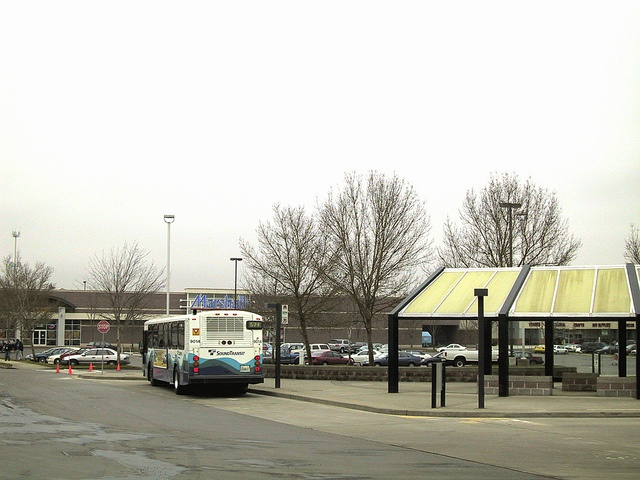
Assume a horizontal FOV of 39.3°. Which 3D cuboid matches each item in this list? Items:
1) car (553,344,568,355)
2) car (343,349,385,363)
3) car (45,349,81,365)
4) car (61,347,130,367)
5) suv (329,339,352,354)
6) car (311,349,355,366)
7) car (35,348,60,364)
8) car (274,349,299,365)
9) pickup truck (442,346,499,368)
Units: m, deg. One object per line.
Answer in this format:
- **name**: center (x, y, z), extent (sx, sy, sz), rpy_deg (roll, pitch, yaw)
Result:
- **car**: center (24.034, 11.075, 90.021), extent (1.184, 0.974, 2.625), rpy_deg (2, 3, 27)
- **car**: center (2.675, 7.372, 55.489), extent (2.638, 0.934, 1.173), rpy_deg (1, -5, -3)
- **car**: center (-17.363, 7.912, 60.518), extent (2.312, 0.820, 1.070), rpy_deg (1, -4, 1)
- **car**: center (-14.485, 7.436, 56.854), extent (3.515, 1.120, 1.606), rpy_deg (3, -4, -2)
- **suv**: center (1.871, 9.903, 83.449), extent (1.123, 0.980, 2.545), rpy_deg (0, 0, 37)
- **car**: center (0.675, 7.286, 55.020), extent (2.123, 0.737, 1.010), rpy_deg (-2, 0, -10)
- **car**: center (-19.148, 8.269, 62.733), extent (2.004, 1.057, 1.206), rpy_deg (4, -5, -2)
- **car**: center (-2.129, 7.467, 57.433), extent (1.492, 1.037, 4.117), rpy_deg (0, -11, -1)
- **pickup truck**: center (9.436, 7.609, 58.108), extent (2.965, 1.009, 1.667), rpy_deg (-2, -3, -1)
